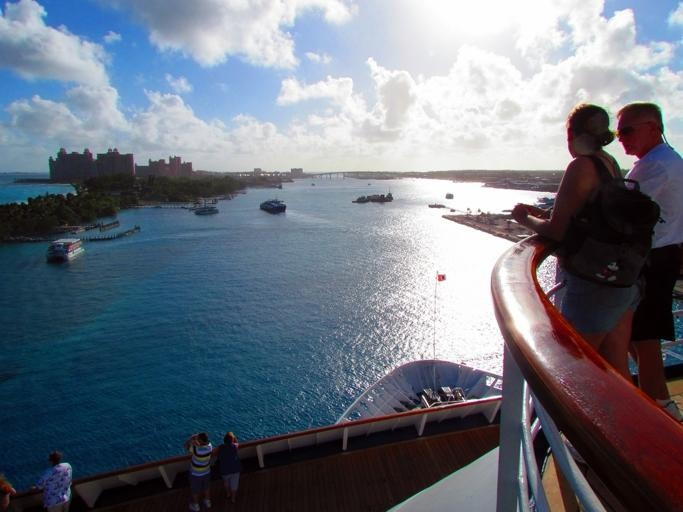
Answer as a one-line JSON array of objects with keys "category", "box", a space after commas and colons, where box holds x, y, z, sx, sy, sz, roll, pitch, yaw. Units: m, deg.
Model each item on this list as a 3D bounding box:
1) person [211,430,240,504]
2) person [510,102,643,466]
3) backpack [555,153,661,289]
[{"category": "person", "box": [-1.553, 2.793, 5.853, 0.322, 1.016, 0.520, -4, 13, -17]}, {"category": "person", "box": [1.193, 0.104, 2.215, 0.685, 1.614, 0.559, 4, 7, 36]}, {"category": "backpack", "box": [1.211, -0.161, 1.944, 0.363, 0.573, 0.189, 10, 16, 37]}]
